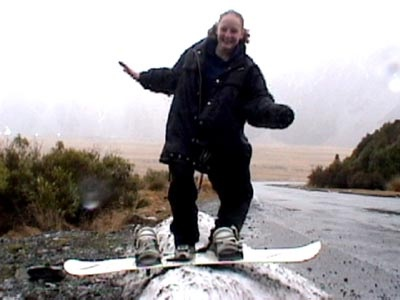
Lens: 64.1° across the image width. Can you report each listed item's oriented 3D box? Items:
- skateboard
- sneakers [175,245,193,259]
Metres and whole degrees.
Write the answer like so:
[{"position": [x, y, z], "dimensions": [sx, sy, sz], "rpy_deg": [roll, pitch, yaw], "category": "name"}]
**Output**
[{"position": [-0.064, 1.322, 3.872], "dimensions": [3.053, 0.211, 0.486], "rpy_deg": [-3, 21, -4], "category": "skateboard"}, {"position": [-0.177, 1.152, 3.596], "dimensions": [0.147, 0.056, 0.127], "rpy_deg": [4, 33, 4], "category": "sneakers"}]
